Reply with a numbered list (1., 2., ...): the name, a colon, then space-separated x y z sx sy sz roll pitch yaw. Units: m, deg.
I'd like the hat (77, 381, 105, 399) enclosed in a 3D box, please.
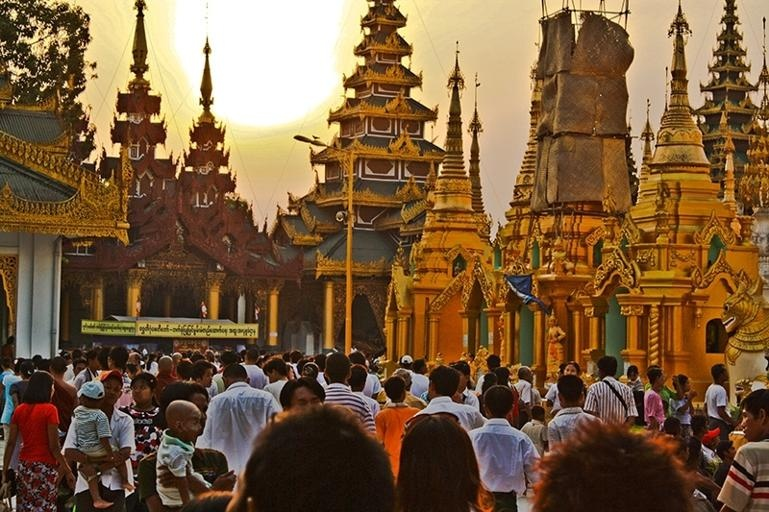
1. hat: -3.571 1.633 16.500 0.291 0.242 0.262 1 -11 -8
